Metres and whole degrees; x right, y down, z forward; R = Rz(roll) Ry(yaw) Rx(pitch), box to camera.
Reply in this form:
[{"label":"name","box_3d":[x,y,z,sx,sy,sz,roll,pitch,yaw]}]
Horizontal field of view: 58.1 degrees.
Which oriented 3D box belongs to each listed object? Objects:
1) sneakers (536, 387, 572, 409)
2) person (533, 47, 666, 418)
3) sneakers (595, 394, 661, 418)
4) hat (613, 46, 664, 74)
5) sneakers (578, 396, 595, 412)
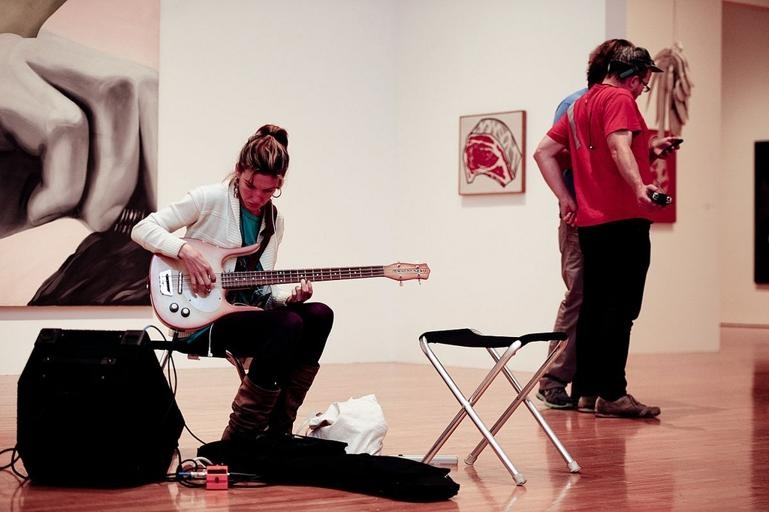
[{"label":"sneakers","box_3d":[1.260,1.051,5.155,0.107,0.116,0.249,5,-7,-36]},{"label":"person","box_3d":[1.612,-0.186,4.777,0.491,2.605,0.971,-4,6,-27]},{"label":"sneakers","box_3d":[1.700,1.045,4.827,0.391,0.143,0.181,1,-4,-4]},{"label":"hat","box_3d":[1.753,-1.363,4.818,0.292,0.159,0.184,-3,14,-3]},{"label":"sneakers","box_3d":[1.440,1.061,4.946,0.067,0.061,0.144,1,-2,20]}]
